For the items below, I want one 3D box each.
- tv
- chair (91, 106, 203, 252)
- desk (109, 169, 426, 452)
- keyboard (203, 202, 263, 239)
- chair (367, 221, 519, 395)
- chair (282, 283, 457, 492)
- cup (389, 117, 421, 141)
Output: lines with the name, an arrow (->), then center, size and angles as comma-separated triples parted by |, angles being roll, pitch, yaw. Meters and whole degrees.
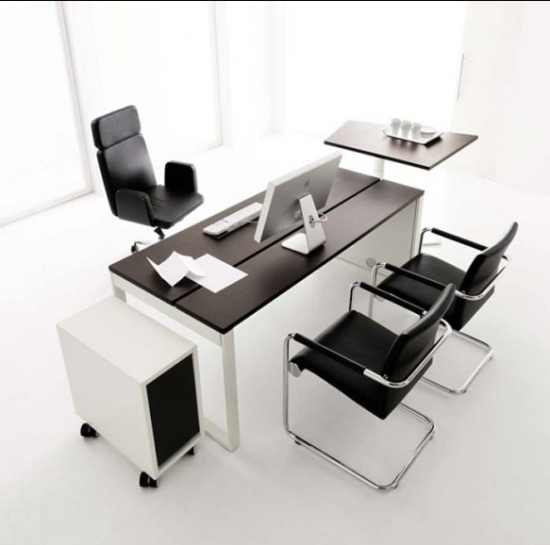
tv -> 0.134, -0.335, 2.453 | 0.214, 0.483, 0.598 | 19, 38, 28
chair -> -0.907, -0.603, 3.556 | 0.559, 1.150, 0.603 | 10, 32, 23
desk -> -0.001, 0.217, 2.502 | 0.576, 0.619, 1.196 | 25, 42, 31
keyboard -> -0.222, -0.306, 2.746 | 0.144, 0.058, 0.463 | 18, 38, 35
chair -> 0.919, 0.121, 2.718 | 0.594, 0.907, 0.664 | -22, 34, -28
chair -> 0.402, 0.424, 2.206 | 0.592, 0.889, 0.665 | -20, 34, -27
cup -> 0.917, -1.014, 3.364 | 0.127, 0.101, 0.204 | -25, 36, -30
